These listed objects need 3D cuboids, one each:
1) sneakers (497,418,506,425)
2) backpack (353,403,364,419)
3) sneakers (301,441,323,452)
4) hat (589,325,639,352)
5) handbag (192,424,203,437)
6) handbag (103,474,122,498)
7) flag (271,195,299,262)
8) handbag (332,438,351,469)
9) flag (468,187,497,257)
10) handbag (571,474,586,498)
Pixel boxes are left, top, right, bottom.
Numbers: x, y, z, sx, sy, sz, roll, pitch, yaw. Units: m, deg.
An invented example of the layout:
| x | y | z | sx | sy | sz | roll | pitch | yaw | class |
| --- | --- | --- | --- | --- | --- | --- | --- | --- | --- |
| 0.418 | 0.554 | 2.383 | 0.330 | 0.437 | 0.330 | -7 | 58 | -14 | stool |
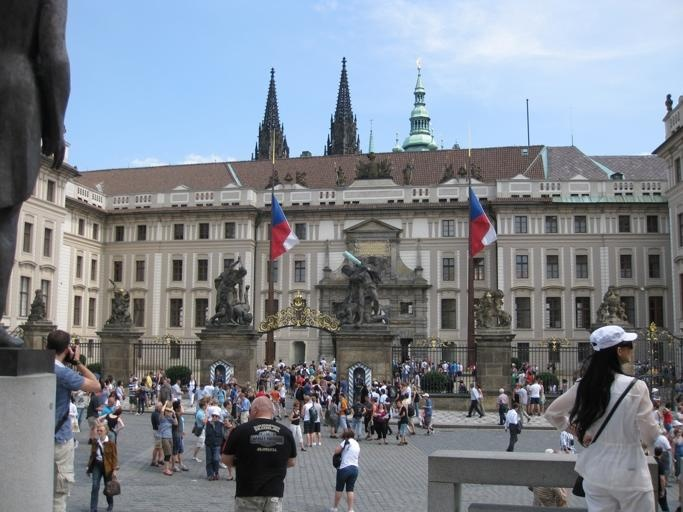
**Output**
| x | y | z | sx | sy | sz | roll | pitch | yaw | class |
| --- | --- | --- | --- | --- | --- | --- | --- | --- | --- |
| 5.109 | 5.348 | 31.571 | 0.278 | 0.241 | 0.387 | -2 | -28 | 4 | sneakers |
| 0.485 | 4.354 | 27.719 | 0.410 | 0.478 | 0.238 | 2 | -19 | -6 | backpack |
| -0.780 | 5.112 | 26.305 | 0.498 | 0.240 | 0.178 | -2 | -6 | 8 | sneakers |
| 3.341 | 1.007 | 12.266 | 0.438 | 0.194 | 0.334 | -11 | 3 | -14 | hat |
| -3.414 | 4.175 | 23.630 | 0.240 | 0.279 | 0.271 | -2 | -2 | 17 | handbag |
| -4.138 | 4.199 | 18.033 | 0.280 | 0.390 | 0.283 | 3 | -8 | -15 | handbag |
| -2.245 | -1.221 | 39.460 | 1.258 | 0.304 | 3.601 | -10 | -45 | -17 | flag |
| 0.007 | 3.773 | 18.713 | 0.289 | 0.548 | 0.262 | 3 | -8 | -19 | handbag |
| 5.546 | -1.442 | 39.215 | 1.111 | 0.319 | 3.555 | -14 | -52 | -7 | flag |
| 2.934 | 2.857 | 12.280 | 0.132 | 0.273 | 0.411 | -1 | -8 | 12 | handbag |
